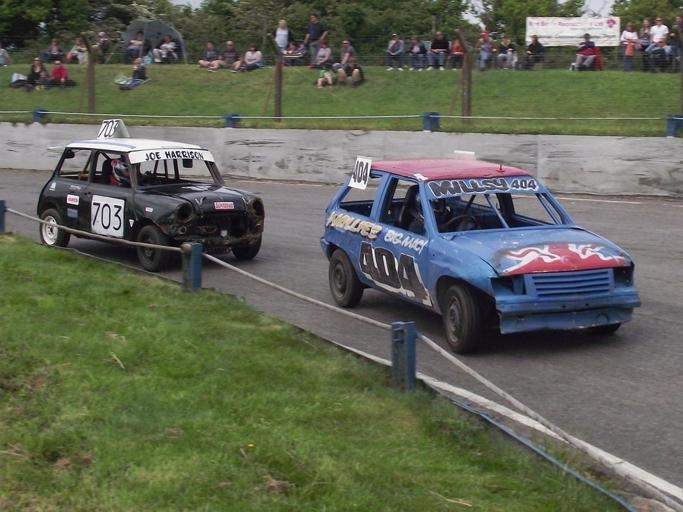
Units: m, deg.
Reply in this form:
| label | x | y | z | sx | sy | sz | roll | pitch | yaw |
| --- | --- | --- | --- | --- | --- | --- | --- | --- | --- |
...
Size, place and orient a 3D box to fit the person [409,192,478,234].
| label | x | y | z | sx | sy | sz | roll | pitch | yaw |
| --- | --- | --- | --- | --- | --- | --- | --- | --- | --- |
| person | 1.163 | -0.519 | 9.862 | 0.528 | 0.288 | 0.798 | -6 | 10 | -35 |

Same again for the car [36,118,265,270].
| label | x | y | z | sx | sy | sz | roll | pitch | yaw |
| --- | --- | --- | --- | --- | --- | --- | --- | --- | --- |
| car | -3.244 | -0.882 | 12.461 | 3.663 | 1.512 | 2.047 | 9 | 10 | 36 |

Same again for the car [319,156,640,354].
| label | x | y | z | sx | sy | sz | roll | pitch | yaw |
| --- | --- | --- | --- | --- | --- | --- | --- | --- | --- |
| car | 1.496 | -0.105 | 9.565 | 2.081 | 1.978 | 2.856 | -6 | 11 | -27 |
